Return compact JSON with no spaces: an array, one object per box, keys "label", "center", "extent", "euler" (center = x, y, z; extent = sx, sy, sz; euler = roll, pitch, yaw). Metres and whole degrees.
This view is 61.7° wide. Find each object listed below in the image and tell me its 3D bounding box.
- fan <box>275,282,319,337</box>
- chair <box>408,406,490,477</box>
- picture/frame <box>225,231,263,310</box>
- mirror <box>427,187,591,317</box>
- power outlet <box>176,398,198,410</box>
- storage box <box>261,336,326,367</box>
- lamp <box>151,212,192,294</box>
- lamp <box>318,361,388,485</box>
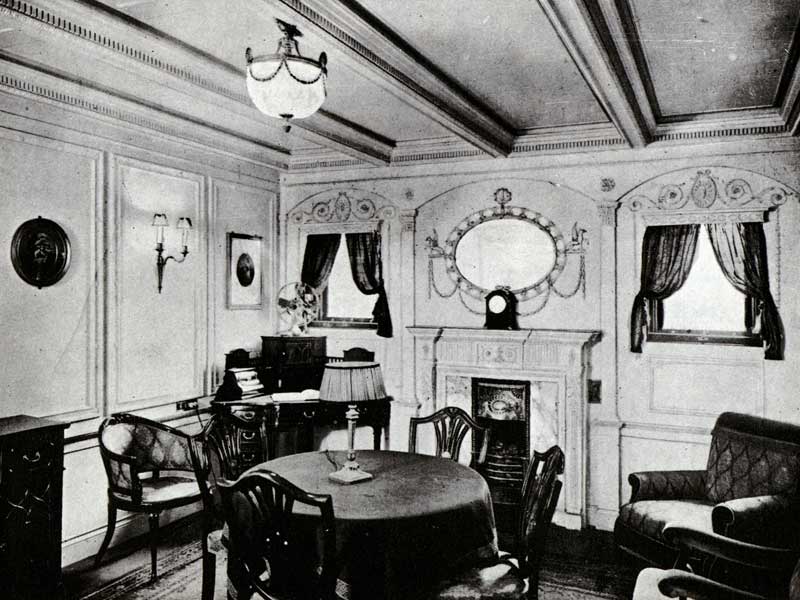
[{"label":"fan","center":[-1.194,0.075,7.842],"extent":[0.499,0.594,0.237],"euler":[2,-3,-13]},{"label":"chair","center":[0.463,1.204,5.947],"extent":[0.584,0.898,0.609],"euler":[-1,-14,19]},{"label":"picture/frame","center":[-1.734,-0.324,7.346],"extent":[0.059,0.995,0.809],"euler":[-1,-1,19]},{"label":"mirror","center":[1.212,-0.505,6.973],"extent":[1.202,1.028,0.055],"euler":[0,-1,17]},{"label":"power outlet","center":[-2.121,1.041,6.670],"extent":[0.043,0.126,0.258],"euler":[-1,-4,31]},{"label":"storage box","center":[-1.137,0.547,7.245],"extent":[0.687,0.322,0.247],"euler":[2,-4,-22]},{"label":"lamp","center":[-2.198,-0.450,6.510],"extent":[0.113,0.777,0.499],"euler":[-1,-4,32]},{"label":"lamp","center":[-0.340,0.863,5.209],"extent":[0.653,1.136,0.693],"euler":[0,1,-20]}]
